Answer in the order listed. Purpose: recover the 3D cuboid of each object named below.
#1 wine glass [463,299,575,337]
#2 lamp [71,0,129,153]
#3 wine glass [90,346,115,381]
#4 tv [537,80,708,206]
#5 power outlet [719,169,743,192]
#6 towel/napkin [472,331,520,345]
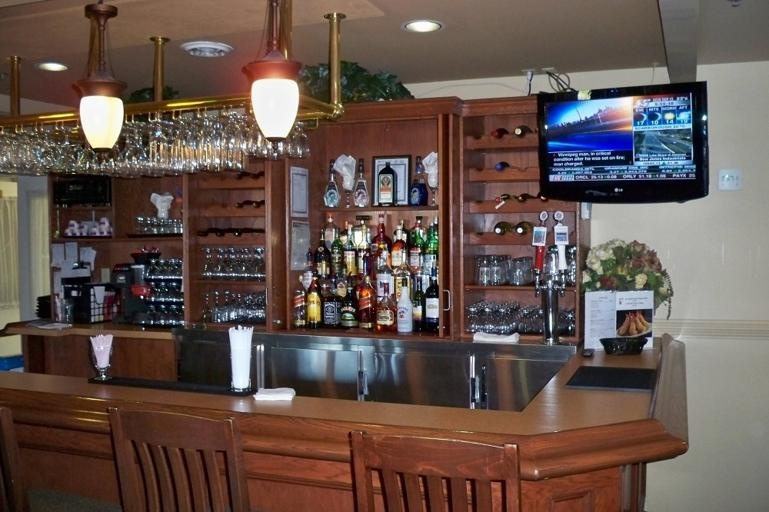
[{"bbox_3d":[0.998,0.460,4.966,0.793,0.224,0.296,0,2,16],"label":"wine glass"},{"bbox_3d":[-1.615,-1.026,3.790,0.245,0.930,0.977,-2,3,-23],"label":"lamp"},{"bbox_3d":[-1.604,0.567,3.786,0.098,0.263,0.276,-2,3,-24],"label":"wine glass"},{"bbox_3d":[1.602,-0.755,4.478,0.876,0.645,0.066,0,7,19],"label":"tv"},{"bbox_3d":[2.723,-0.600,5.241,0.179,0.177,0.024,1,4,19],"label":"power outlet"},{"bbox_3d":[0.812,0.586,4.861,0.335,0.059,0.213,0,2,9],"label":"towel/napkin"}]
